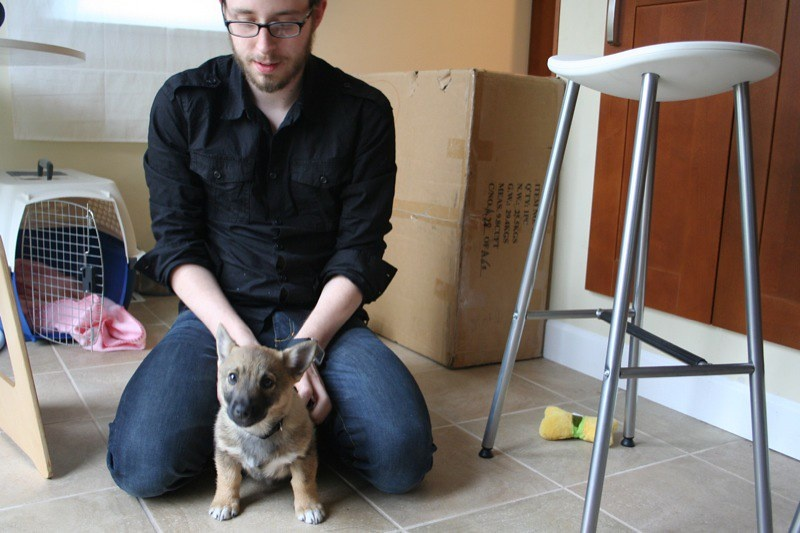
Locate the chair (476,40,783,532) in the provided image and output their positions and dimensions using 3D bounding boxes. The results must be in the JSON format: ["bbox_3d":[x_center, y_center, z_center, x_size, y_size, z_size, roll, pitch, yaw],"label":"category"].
[{"bbox_3d":[0.741,0.030,1.970,0.931,1.349,0.986,6,17,19],"label":"chair"}]

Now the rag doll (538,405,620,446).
[{"bbox_3d":[0.629,0.568,2.319,0.208,0.075,0.189,6,3,6],"label":"rag doll"}]

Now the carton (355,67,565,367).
[{"bbox_3d":[0.266,-0.208,2.609,0.595,1.163,1.128,5,2,-29],"label":"carton"}]

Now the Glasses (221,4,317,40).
[{"bbox_3d":[-0.385,-0.744,1.941,0.283,0.114,0.122,-5,17,-16],"label":"Glasses"}]

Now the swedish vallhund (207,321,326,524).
[{"bbox_3d":[-0.395,0.469,1.839,0.327,0.518,0.223,-6,17,-19],"label":"swedish vallhund"}]
